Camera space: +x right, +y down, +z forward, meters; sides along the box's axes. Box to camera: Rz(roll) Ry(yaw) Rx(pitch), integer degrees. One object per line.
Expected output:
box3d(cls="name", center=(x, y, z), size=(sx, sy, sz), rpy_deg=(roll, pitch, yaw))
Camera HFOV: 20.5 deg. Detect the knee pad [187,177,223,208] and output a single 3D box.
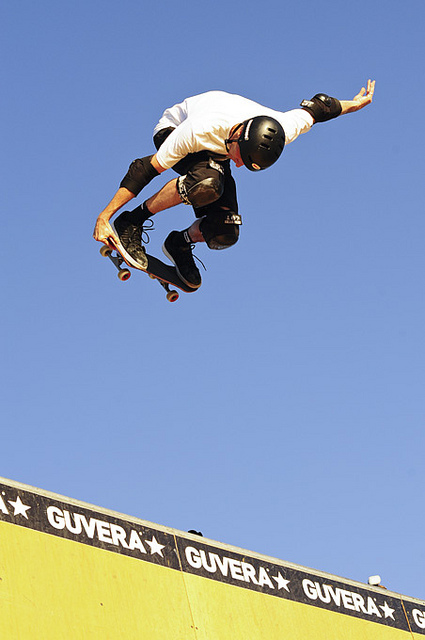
box3d(cls="knee pad", center=(-0.074, -1.233, 11.664), size=(0.295, 0.121, 0.233), rpy_deg=(-35, -38, 25))
